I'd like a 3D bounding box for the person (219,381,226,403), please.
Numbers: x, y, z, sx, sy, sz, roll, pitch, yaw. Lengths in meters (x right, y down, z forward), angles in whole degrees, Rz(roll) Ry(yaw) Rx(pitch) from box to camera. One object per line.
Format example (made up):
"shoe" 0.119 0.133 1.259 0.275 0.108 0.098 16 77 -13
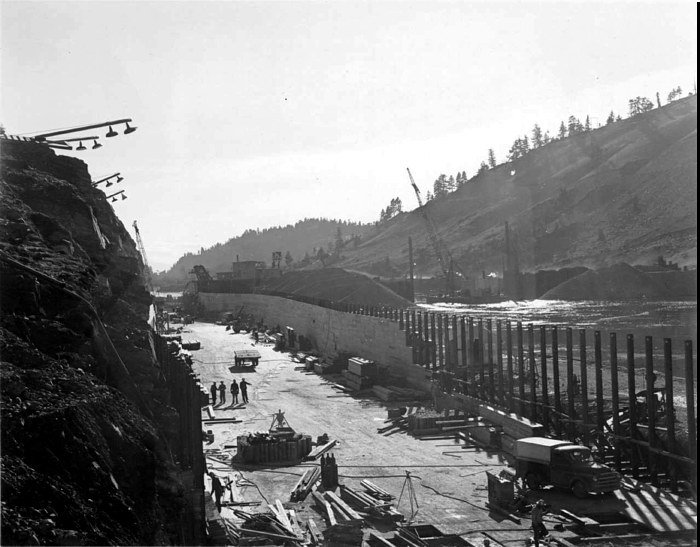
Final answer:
"person" -6.414 6.037 36.421 0.316 0.842 1.028 -4 -3 -14

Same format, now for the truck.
"truck" 6.748 6.062 22.694 1.498 1.541 2.710 0 -3 -42
